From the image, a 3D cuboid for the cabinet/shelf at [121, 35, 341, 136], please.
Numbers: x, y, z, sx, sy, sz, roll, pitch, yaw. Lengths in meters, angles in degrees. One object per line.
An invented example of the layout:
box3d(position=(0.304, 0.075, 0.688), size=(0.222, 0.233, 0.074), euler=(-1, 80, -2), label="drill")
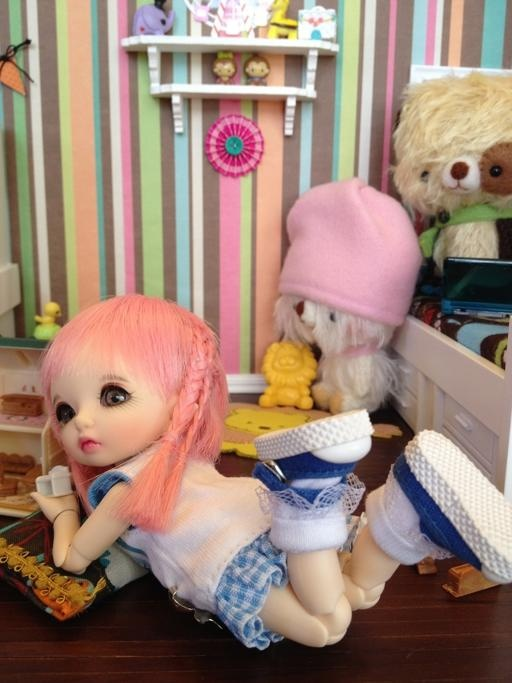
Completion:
box3d(position=(-0.077, -0.790, 1.966), size=(0.687, 0.259, 0.155), euler=(-5, 22, -14), label="cabinet/shelf")
